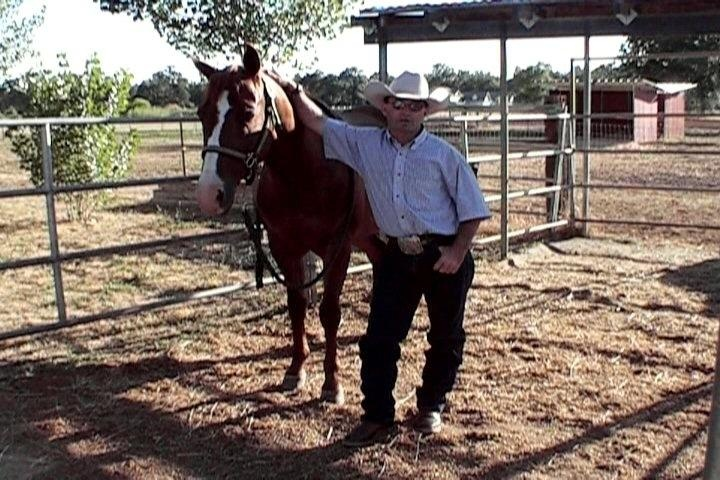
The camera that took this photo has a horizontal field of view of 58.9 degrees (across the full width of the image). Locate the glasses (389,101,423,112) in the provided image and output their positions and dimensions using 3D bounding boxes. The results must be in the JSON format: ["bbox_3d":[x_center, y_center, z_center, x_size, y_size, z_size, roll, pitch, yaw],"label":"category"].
[{"bbox_3d":[0.363,-1.017,4.856,0.237,0.079,0.051,0,12,3],"label":"glasses"}]

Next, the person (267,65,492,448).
[{"bbox_3d":[0.343,0.097,5.048,1.289,2.758,0.789,-1,11,0],"label":"person"}]
